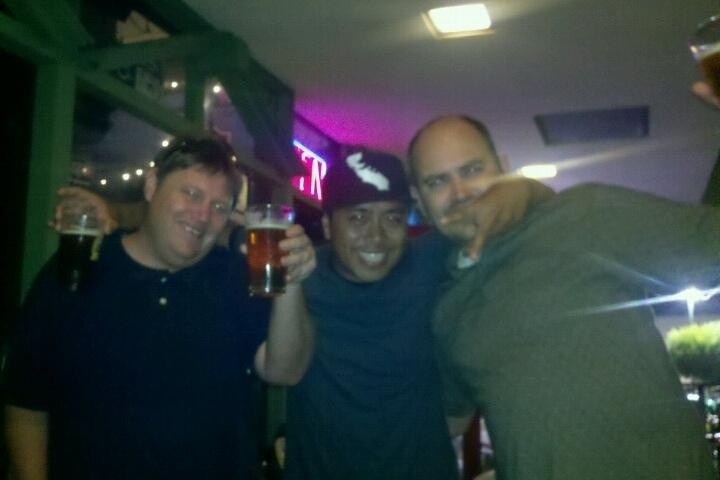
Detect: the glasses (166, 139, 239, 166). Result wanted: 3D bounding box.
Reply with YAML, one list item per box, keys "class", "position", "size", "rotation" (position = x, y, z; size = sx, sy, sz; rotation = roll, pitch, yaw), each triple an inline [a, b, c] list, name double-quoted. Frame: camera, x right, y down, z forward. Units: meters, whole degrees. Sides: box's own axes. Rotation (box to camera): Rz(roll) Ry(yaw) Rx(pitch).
- class: "glasses"
  position: [-1.114, -0.577, 4.381]
  size: [0.308, 0.126, 0.243]
  rotation: [-2, -2, 34]

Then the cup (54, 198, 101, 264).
- class: "cup"
  position: [-1.828, -0.052, 4.146]
  size: [0.267, 0.383, 0.251]
  rotation: [-4, -52, -5]
